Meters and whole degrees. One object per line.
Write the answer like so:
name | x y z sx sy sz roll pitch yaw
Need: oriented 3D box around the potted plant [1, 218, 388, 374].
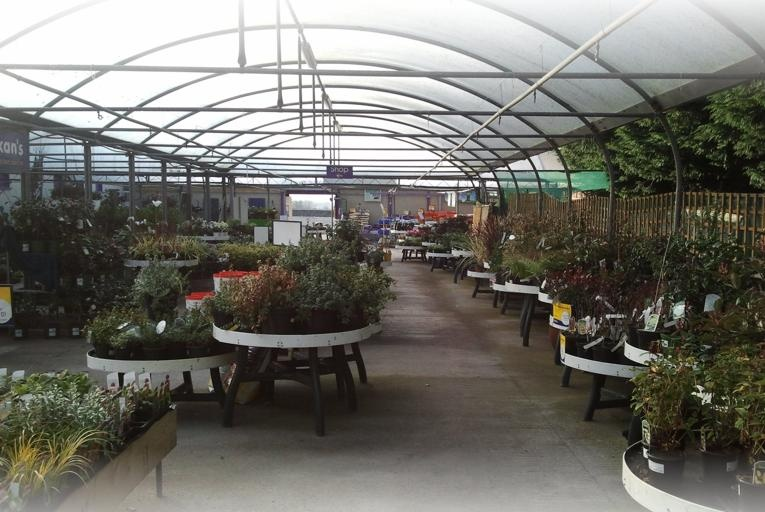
potted plant | -1.491 0.561 6.700 3.070 1.112 1.009 0 11 -4

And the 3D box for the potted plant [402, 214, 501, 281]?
potted plant | 1.998 -0.353 17.401 2.042 1.303 2.233 -1 4 10
